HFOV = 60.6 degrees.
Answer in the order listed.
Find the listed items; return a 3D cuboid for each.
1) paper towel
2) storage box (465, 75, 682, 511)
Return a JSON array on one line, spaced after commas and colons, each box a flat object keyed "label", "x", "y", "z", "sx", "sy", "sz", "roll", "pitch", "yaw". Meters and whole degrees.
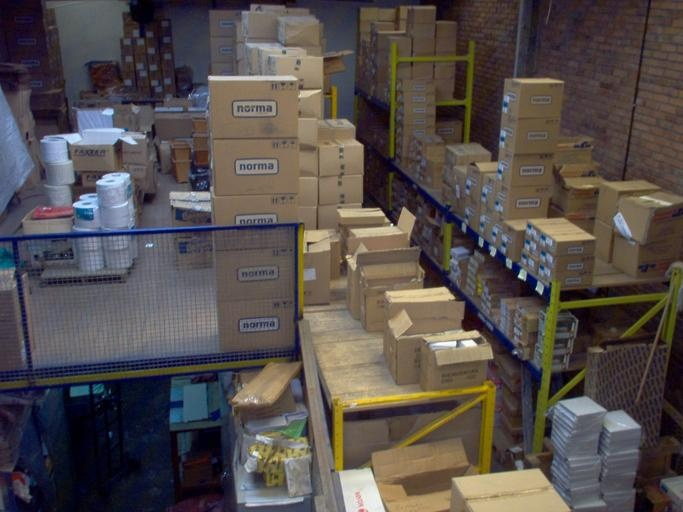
[{"label": "paper towel", "x": -2.210, "y": -0.502, "z": 5.110, "sx": 0.348, "sy": 1.453, "sz": 0.509, "roll": 4, "pitch": 6, "yaw": 25}, {"label": "storage box", "x": 2.020, "y": 0.034, "z": 4.978, "sx": 1.210, "sy": 2.885, "sz": 1.800, "roll": -4, "pitch": 23, "yaw": -9}]
